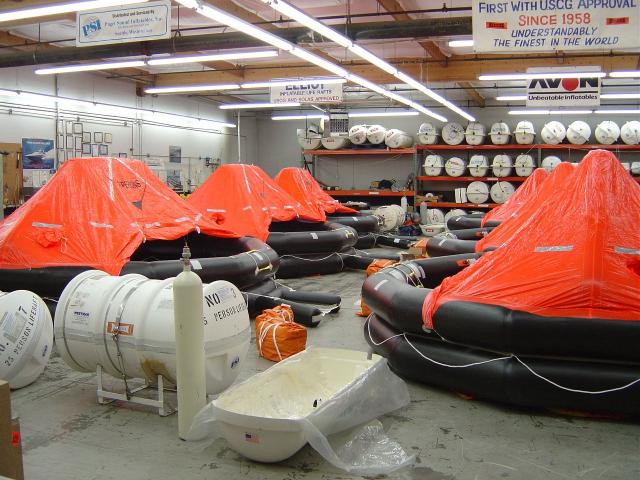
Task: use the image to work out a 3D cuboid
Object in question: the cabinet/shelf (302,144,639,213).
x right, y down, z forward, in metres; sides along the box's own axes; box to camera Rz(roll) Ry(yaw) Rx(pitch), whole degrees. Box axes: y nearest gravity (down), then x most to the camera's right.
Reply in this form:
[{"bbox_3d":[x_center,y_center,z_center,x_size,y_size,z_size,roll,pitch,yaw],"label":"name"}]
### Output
[{"bbox_3d":[4.034,-2.026,13.205,9.384,2.010,1.996,2,9,18],"label":"cabinet/shelf"}]
